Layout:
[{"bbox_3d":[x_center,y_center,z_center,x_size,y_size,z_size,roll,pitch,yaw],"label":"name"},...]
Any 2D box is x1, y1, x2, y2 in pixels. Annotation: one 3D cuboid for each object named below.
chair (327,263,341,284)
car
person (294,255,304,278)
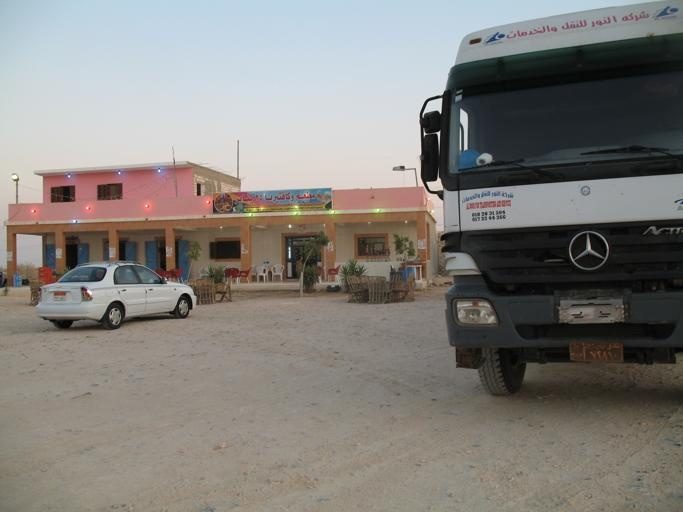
[{"bbox_3d":[-0.271,0.906,27.724,0.701,1.112,0.732,1,0,-8],"label":"chair"},{"bbox_3d":[-5.396,0.928,14.571,1.540,1.350,3.485,0,1,24],"label":"car"},{"bbox_3d":[-2.228,0.611,31.502,0.351,1.152,0.667,-3,5,-18],"label":"person"}]
